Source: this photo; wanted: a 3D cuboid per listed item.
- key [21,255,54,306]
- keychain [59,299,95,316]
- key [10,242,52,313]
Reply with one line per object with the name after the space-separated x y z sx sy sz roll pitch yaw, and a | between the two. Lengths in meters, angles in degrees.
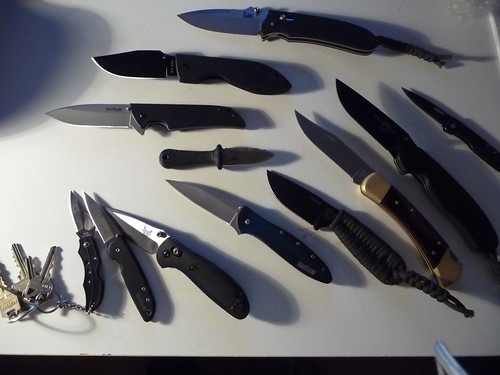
-0.828 0.347 2.009 0.093 0.021 0.289 16 36 -18 | key
-0.675 0.468 1.958 0.097 0.031 0.028 21 10 12 | keychain
-0.860 0.364 1.971 0.179 0.042 0.335 -10 66 -14 | key
